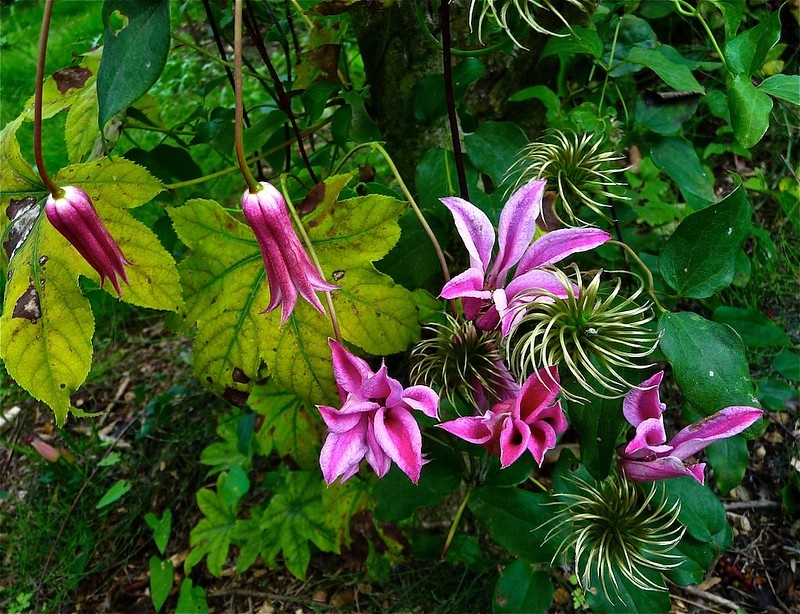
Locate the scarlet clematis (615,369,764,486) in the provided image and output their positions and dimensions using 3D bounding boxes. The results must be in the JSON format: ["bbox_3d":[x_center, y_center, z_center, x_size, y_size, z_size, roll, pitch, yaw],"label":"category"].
[{"bbox_3d":[0.613,0.278,1.764,0.282,0.205,0.263,0,57,-15],"label":"scarlet clematis"}]

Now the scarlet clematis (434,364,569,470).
[{"bbox_3d":[0.236,0.252,1.608,0.259,0.165,0.144,-25,36,-10],"label":"scarlet clematis"}]

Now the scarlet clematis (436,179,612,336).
[{"bbox_3d":[0.262,-0.138,1.685,0.338,0.189,0.341,-37,72,-10],"label":"scarlet clematis"}]

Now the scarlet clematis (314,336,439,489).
[{"bbox_3d":[-0.063,0.238,1.569,0.215,0.258,0.222,5,41,28],"label":"scarlet clematis"}]

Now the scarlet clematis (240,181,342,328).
[{"bbox_3d":[-0.248,-0.126,1.622,0.161,0.270,0.192,-13,32,9],"label":"scarlet clematis"}]
